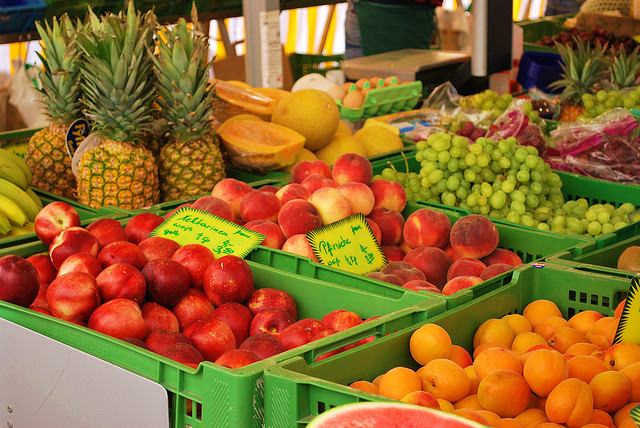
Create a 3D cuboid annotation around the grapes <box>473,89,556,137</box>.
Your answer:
[{"bbox_3d":[1.551,-0.871,4.330,0.656,0.324,0.759,-9,11,-34],"label":"grapes"}]
